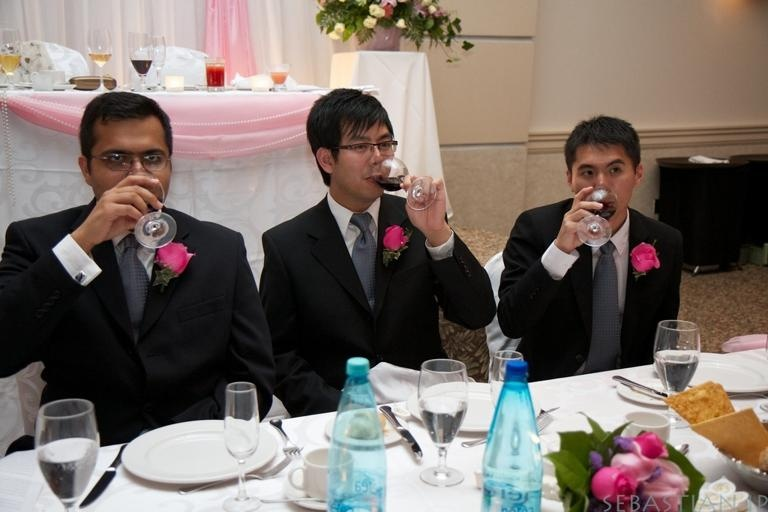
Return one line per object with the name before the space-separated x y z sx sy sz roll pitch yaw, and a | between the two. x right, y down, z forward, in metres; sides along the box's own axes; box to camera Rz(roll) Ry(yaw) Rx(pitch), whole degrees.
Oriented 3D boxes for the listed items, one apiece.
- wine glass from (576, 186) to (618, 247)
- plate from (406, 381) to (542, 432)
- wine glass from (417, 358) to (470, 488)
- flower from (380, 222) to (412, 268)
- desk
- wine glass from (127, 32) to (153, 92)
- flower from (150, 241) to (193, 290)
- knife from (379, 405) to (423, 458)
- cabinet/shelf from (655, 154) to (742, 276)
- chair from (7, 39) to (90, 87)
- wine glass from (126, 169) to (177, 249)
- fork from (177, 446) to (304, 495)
wine glass | 0.835 -0.167 2.213 0.160 0.128 0.319 -24 3 25
plate | 0.168 0.442 1.687 0.234 0.026 0.237 -16 4 -2
wine glass | 0.151 0.433 1.434 0.162 0.374 0.174 -3 21 -4
flower | 0.053 -0.051 2.389 0.124 0.163 0.124 -3 12 2
desk | 0.091 -1.015 4.097 0.566 0.794 0.586 -4 -11 -8
wine glass | -1.390 -1.115 3.239 0.129 0.334 0.361 -9 14 -24
flower | -0.782 0.047 2.068 0.154 0.172 0.130 8 -3 -28
knife | 0.050 0.495 1.593 0.044 0.014 0.274 -5 12 -11
cabinet/shelf | 3.457 -0.452 6.101 0.787 1.106 0.829 0 8 6
chair | -2.000 -1.172 3.358 0.485 0.240 0.348 2 2 -4
wine glass | -0.765 -0.149 1.907 0.123 0.256 0.077 8 -15 -23
fork | -0.367 0.550 1.430 0.315 0.047 0.055 -15 31 -15
